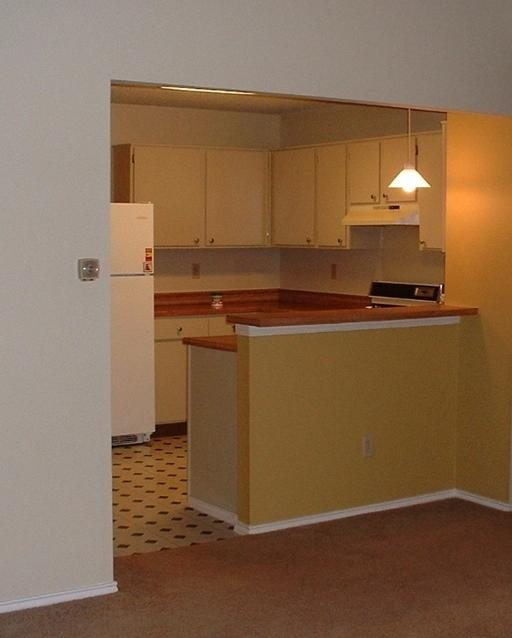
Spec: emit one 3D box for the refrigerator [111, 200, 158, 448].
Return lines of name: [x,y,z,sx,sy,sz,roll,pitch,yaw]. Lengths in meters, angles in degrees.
refrigerator: [-1.038,0.064,5.049,0.345,2.042,0.426,1,-3,-8]

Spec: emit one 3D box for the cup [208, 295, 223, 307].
cup: [-0.411,-0.185,6.100,0.122,0.131,0.121,-1,21,0]

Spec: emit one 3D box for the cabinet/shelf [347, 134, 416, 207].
cabinet/shelf: [1.051,-1.245,5.252,0.234,0.595,0.702,3,18,21]

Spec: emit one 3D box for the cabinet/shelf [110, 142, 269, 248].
cabinet/shelf: [-0.367,-1.150,5.903,1.506,0.960,0.550,4,7,31]
